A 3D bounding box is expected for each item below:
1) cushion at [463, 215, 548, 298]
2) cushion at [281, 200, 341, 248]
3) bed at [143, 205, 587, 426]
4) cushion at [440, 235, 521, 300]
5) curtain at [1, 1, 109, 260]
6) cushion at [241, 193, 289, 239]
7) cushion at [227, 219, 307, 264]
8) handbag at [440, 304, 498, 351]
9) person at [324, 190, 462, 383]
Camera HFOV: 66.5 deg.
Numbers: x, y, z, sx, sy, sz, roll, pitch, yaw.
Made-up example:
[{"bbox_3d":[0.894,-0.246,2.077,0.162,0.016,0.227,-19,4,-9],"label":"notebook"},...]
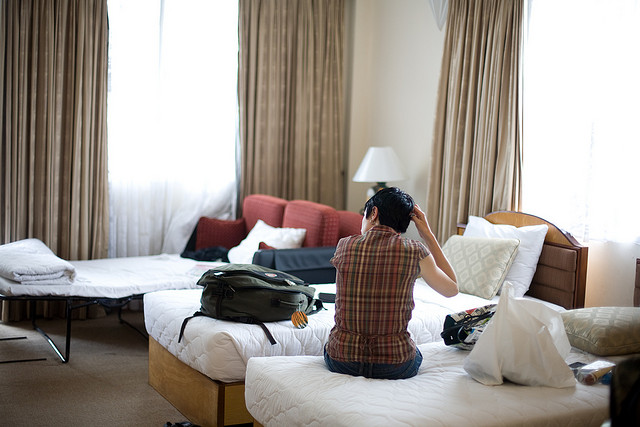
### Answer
[{"bbox_3d":[1.301,0.328,3.769,0.666,0.171,0.643,-28,7,-35],"label":"cushion"},{"bbox_3d":[-0.095,0.098,4.382,0.360,0.338,0.120,12,9,43],"label":"cushion"},{"bbox_3d":[0.334,0.665,3.683,2.429,1.266,1.608,2,4,-17],"label":"bed"},{"bbox_3d":[1.252,0.365,3.752,0.171,0.496,0.621,29,-9,-34],"label":"cushion"},{"bbox_3d":[-2.468,-0.782,4.564,1.020,2.463,0.238,-4,10,-24],"label":"curtain"},{"bbox_3d":[-0.543,0.032,4.783,0.142,0.434,0.424,2,2,-43],"label":"cushion"},{"bbox_3d":[-0.533,0.275,4.460,0.453,0.484,0.141,12,-15,41],"label":"cushion"},{"bbox_3d":[0.849,0.642,2.818,0.352,0.226,0.128,-1,-20,38],"label":"handbag"},{"bbox_3d":[0.408,0.554,2.792,0.664,1.334,0.802,11,16,17],"label":"person"}]
